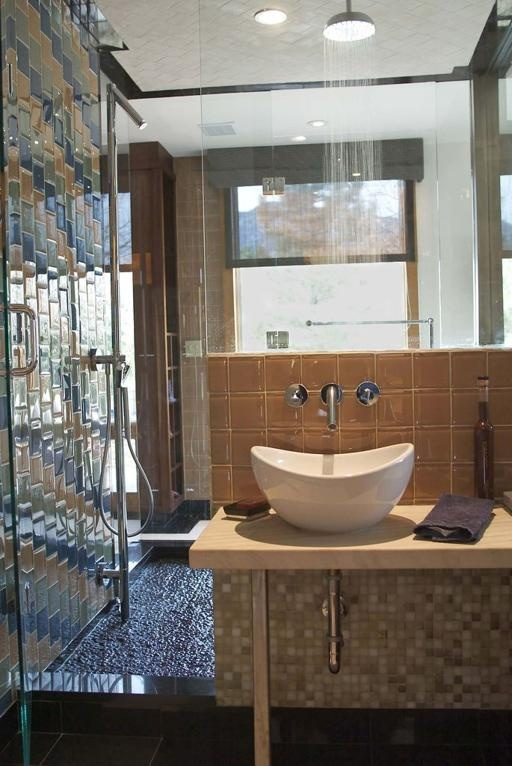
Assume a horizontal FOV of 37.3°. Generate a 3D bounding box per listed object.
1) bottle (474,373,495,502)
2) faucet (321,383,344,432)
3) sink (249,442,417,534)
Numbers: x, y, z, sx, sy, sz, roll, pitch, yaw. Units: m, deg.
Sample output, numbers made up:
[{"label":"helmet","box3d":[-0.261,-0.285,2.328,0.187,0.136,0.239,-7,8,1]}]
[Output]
[{"label":"bottle","box3d":[0.645,0.158,2.156,0.053,0.344,0.044,-4,3,10]},{"label":"faucet","box3d":[0.217,0.078,2.145,0.065,0.141,0.228,-4,3,6]},{"label":"sink","box3d":[0.207,0.270,1.968,0.419,0.224,0.443,-5,3,1]}]
